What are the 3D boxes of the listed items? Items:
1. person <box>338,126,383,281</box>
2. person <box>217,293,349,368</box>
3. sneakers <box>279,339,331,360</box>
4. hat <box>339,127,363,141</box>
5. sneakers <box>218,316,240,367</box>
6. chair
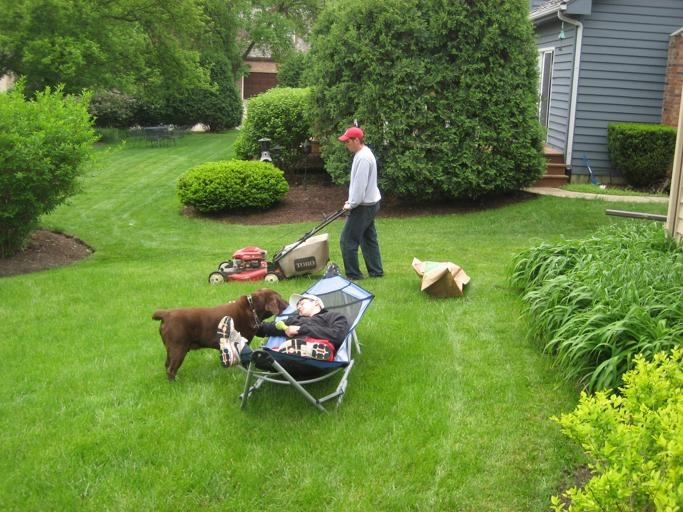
[{"bbox_3d":[0.290,-0.766,9.917,0.604,2.233,0.719,3,14,16],"label":"person"},{"bbox_3d":[-0.456,0.610,6.806,0.656,0.418,1.089,2,9,27],"label":"person"},{"bbox_3d":[-0.326,0.908,6.743,0.369,0.152,0.257,3,-30,9],"label":"sneakers"},{"bbox_3d":[0.155,-1.798,9.861,0.384,0.220,0.261,0,16,-1],"label":"hat"},{"bbox_3d":[-1.115,0.869,6.697,0.168,0.571,0.236,-7,-9,38],"label":"sneakers"},{"bbox_3d":[-0.239,0.941,7.349,0.783,0.734,1.771,1,20,17],"label":"chair"}]
